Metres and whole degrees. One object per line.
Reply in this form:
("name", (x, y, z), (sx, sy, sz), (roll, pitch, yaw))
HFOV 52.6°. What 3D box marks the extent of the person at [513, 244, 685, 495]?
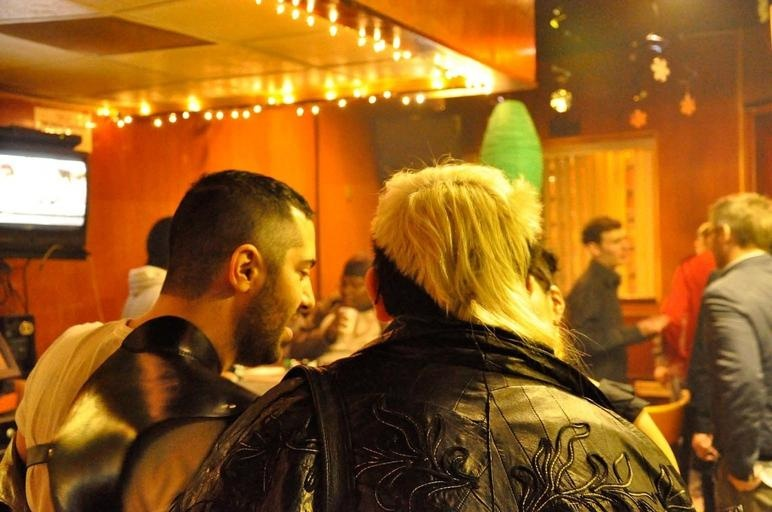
("person", (0.761, 0.383, 2.997), (0.928, 0.872, 0.237), (-2, -29, 4))
